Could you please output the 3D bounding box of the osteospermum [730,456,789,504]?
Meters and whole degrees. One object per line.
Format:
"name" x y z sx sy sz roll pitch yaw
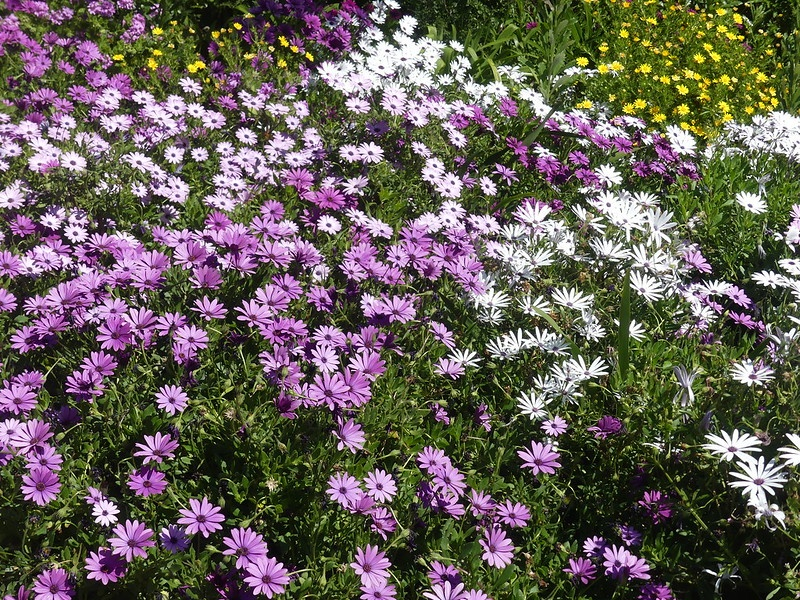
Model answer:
"osteospermum" 1.613 0.814 3.329 0.229 0.274 0.073 -7 90 15

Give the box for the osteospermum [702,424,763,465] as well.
"osteospermum" 1.547 0.701 3.469 0.191 0.054 0.228 -13 49 -4
